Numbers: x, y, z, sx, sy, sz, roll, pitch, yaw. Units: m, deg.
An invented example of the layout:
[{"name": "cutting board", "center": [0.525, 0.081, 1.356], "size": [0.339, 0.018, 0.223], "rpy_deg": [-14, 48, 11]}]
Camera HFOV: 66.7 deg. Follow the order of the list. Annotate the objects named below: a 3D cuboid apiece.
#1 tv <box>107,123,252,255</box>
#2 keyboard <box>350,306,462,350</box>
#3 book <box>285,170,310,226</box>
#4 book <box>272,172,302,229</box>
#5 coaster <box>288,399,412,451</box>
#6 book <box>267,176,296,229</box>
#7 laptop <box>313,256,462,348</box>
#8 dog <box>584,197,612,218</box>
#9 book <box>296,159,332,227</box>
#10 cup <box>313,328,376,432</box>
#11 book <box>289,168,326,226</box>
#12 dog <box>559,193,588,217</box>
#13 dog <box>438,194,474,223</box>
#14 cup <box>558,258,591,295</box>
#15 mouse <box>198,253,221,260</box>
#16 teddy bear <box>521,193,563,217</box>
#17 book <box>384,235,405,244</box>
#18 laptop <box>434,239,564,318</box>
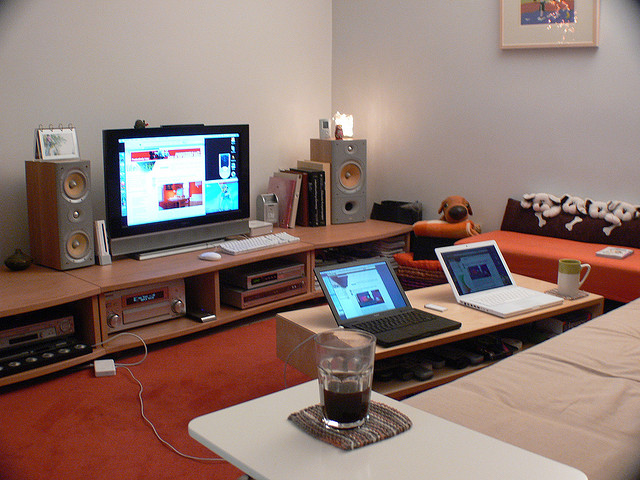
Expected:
[{"name": "tv", "center": [-0.959, -0.338, 3.220], "size": [0.814, 0.664, 0.090], "rpy_deg": [-9, 15, -40]}, {"name": "keyboard", "center": [0.343, 0.346, 1.945], "size": [0.353, 0.025, 0.224], "rpy_deg": [-12, 26, -37]}, {"name": "book", "center": [-0.182, -0.349, 3.931], "size": [0.129, 0.352, 0.363], "rpy_deg": [0, 16, -15]}, {"name": "book", "center": [-0.268, -0.325, 3.932], "size": [0.067, 0.430, 0.364], "rpy_deg": [4, 12, -22]}, {"name": "coaster", "center": [0.060, 0.372, 0.997], "size": [0.229, 0.021, 0.150], "rpy_deg": [-5, 14, -21]}, {"name": "book", "center": [-0.303, -0.291, 3.919], "size": [0.053, 0.399, 0.334], "rpy_deg": [2, 13, -29]}, {"name": "laptop", "center": [0.270, 0.240, 1.979], "size": [0.470, 0.220, 0.501], "rpy_deg": [-3, 9, -31]}, {"name": "dog", "center": [1.953, -0.219, 3.401], "size": [0.199, 0.163, 0.112], "rpy_deg": [-1, -3, 42]}, {"name": "book", "center": [-0.037, -0.379, 4.029], "size": [0.164, 0.515, 0.513], "rpy_deg": [-8, 1, 22]}, {"name": "cup", "center": [0.033, 0.313, 1.046], "size": [0.123, 0.190, 0.127], "rpy_deg": [0, -20, 0]}, {"name": "book", "center": [-0.092, -0.350, 3.950], "size": [0.125, 0.379, 0.386], "rpy_deg": [-7, 15, -31]}, {"name": "dog", "center": [1.830, -0.257, 3.512], "size": [0.081, 0.134, 0.231], "rpy_deg": [-10, -2, 14]}, {"name": "dog", "center": [1.094, -0.241, 3.872], "size": [0.208, 0.187, 0.231], "rpy_deg": [-2, 14, 2]}, {"name": "cup", "center": [1.202, 0.179, 2.283], "size": [0.144, 0.155, 0.085], "rpy_deg": [3, 11, 37]}, {"name": "mouse", "center": [-0.716, 0.104, 3.127], "size": [0.187, 0.039, 0.063], "rpy_deg": [8, 15, 31]}, {"name": "teddy bear", "center": [1.666, -0.272, 3.632], "size": [0.158, 0.141, 0.291], "rpy_deg": [-8, 20, -32]}, {"name": "book", "center": [0.629, -0.002, 4.054], "size": [0.197, 0.047, 0.036], "rpy_deg": [-7, 14, -26]}, {"name": "laptop", "center": [0.813, 0.160, 2.224], "size": [0.487, 0.254, 0.493], "rpy_deg": [-4, 5, -12]}]
